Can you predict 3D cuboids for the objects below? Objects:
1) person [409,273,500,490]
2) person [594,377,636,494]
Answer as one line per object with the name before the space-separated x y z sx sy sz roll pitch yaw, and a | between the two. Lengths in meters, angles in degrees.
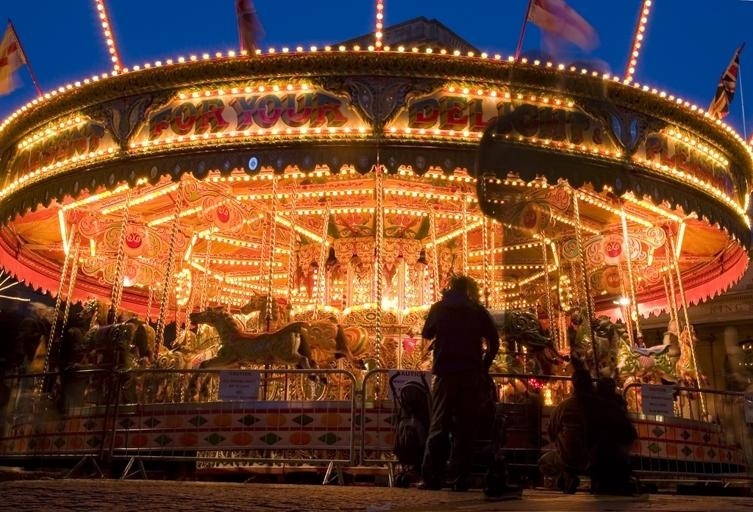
person | 0.901 1.481 8.054 0.764 2.509 1.054 10 -23 -27
person | 3.089 2.358 8.861 0.577 1.505 0.361 2 -20 -5
